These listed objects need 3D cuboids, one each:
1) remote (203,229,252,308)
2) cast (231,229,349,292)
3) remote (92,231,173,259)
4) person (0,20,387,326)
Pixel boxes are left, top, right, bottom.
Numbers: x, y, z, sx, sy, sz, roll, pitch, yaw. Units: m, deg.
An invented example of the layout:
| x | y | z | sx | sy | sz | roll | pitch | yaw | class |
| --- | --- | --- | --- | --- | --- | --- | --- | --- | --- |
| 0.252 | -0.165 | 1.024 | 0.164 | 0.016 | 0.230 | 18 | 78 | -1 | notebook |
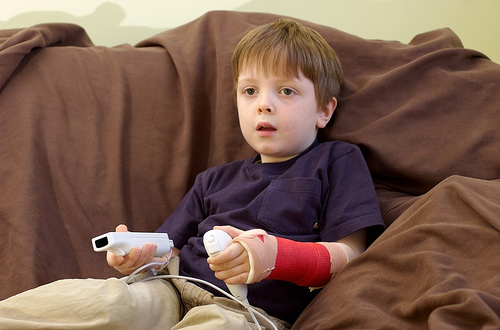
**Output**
| x | y | z | sx | sy | sz | roll | pitch | yaw | class |
| --- | --- | --- | --- | --- | --- | --- | --- | --- | --- |
| -0.054 | 0.264 | 1.222 | 0.117 | 0.224 | 0.135 | 3 | 14 | 0 | remote |
| 0.109 | 0.249 | 1.218 | 0.233 | 0.103 | 0.151 | 13 | 57 | -13 | cast |
| -0.303 | 0.220 | 1.321 | 0.057 | 0.081 | 0.254 | -6 | -8 | 31 | remote |
| -0.059 | 0.008 | 1.372 | 0.667 | 0.712 | 0.939 | -5 | -8 | 37 | person |
